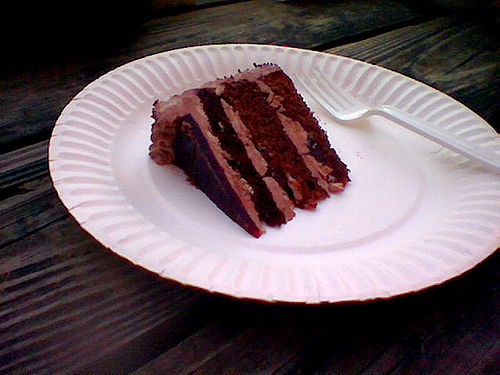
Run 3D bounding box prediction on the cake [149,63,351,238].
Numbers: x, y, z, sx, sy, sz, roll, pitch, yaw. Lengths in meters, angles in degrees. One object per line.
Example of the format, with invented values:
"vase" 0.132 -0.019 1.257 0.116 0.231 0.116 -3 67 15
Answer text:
"cake" -0.116 -0.092 1.914 0.790 0.220 0.710 -30 67 -32
